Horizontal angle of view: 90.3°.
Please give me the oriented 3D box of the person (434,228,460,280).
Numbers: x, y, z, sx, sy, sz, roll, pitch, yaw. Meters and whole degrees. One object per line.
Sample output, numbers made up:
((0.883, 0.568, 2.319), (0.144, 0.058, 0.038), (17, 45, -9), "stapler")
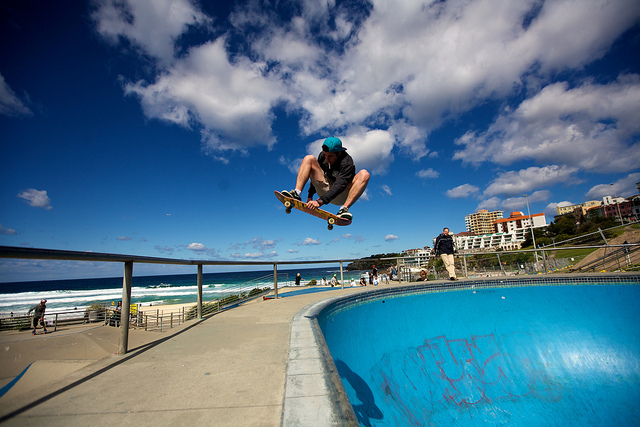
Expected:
((3.943, 1.311, 10.265), (0.745, 1.166, 0.931), (3, 1, 23), "person")
